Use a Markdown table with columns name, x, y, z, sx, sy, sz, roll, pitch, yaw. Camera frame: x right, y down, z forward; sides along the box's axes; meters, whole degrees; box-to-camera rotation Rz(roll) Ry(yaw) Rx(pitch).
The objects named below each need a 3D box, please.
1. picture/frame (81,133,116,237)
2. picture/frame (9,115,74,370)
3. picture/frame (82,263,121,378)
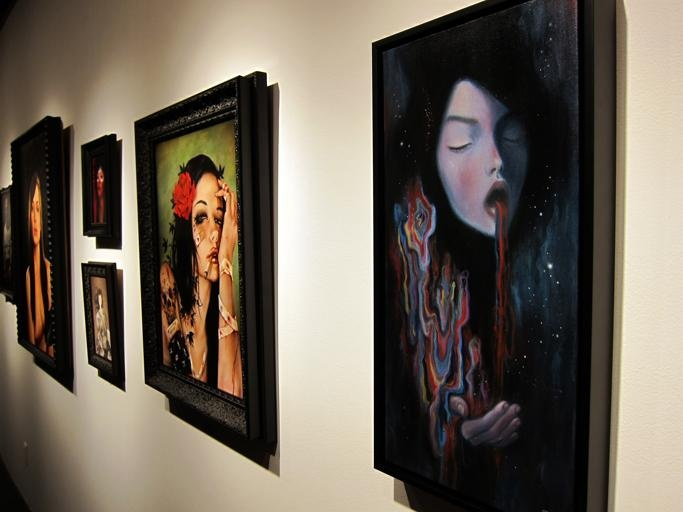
| name | x | y | z | sx | sy | sz | roll | pitch | yaw |
| --- | --- | --- | --- | --- | --- | --- | --- | --- | --- |
| picture/frame | -0.773 | -0.226 | 2.067 | 0.042 | 0.468 | 0.284 | 0 | 1 | -37 |
| picture/frame | -1.137 | -0.062 | 2.467 | 0.095 | 1.109 | 0.836 | -3 | 8 | -37 |
| picture/frame | -0.772 | 0.197 | 2.088 | 0.039 | 0.445 | 0.317 | -3 | 5 | -37 |
